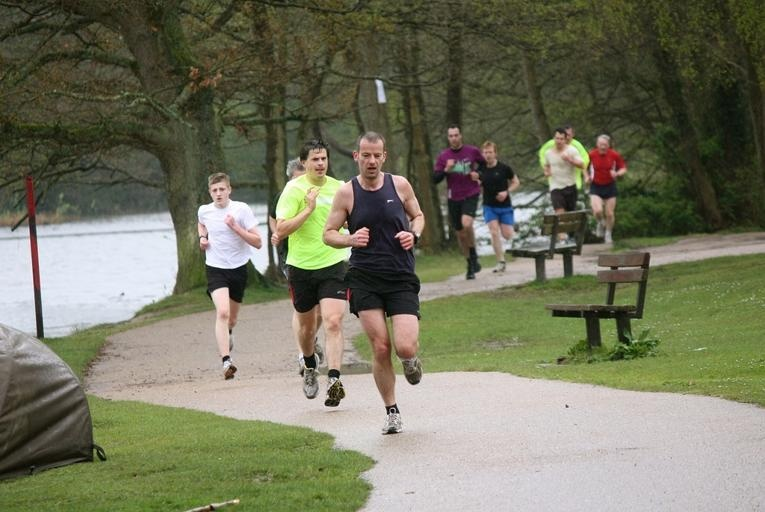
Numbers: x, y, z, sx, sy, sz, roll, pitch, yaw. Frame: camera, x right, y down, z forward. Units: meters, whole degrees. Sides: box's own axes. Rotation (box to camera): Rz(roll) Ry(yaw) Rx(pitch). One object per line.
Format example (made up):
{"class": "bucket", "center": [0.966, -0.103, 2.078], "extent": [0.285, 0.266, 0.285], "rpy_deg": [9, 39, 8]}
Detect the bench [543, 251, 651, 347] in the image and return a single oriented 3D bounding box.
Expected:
{"class": "bench", "center": [3.497, 0.739, 20.463], "extent": [1.661, 1.505, 1.612], "rpy_deg": [-1, 2, 7]}

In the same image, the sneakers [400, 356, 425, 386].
{"class": "sneakers", "center": [0.401, 1.634, 17.303], "extent": [0.190, 0.527, 0.228], "rpy_deg": [-9, 16, 12]}

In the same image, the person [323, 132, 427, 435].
{"class": "person", "center": [-0.019, 0.345, 17.253], "extent": [1.236, 4.046, 1.105], "rpy_deg": [-4, 10, 2]}

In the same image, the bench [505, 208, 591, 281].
{"class": "bench", "center": [3.407, -0.228, 25.722], "extent": [1.231, 1.424, 1.732], "rpy_deg": [7, 9, 41]}

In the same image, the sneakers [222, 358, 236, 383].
{"class": "sneakers", "center": [-2.420, 1.791, 19.681], "extent": [0.169, 0.424, 0.208], "rpy_deg": [-27, 60, -22]}

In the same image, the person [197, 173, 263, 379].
{"class": "person", "center": [-2.502, 0.324, 20.205], "extent": [1.065, 3.224, 1.019], "rpy_deg": [-12, 12, -35]}

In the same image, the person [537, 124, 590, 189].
{"class": "person", "center": [3.924, -1.678, 27.278], "extent": [1.133, 2.305, 0.690], "rpy_deg": [0, 33, 9]}

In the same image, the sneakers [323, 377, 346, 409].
{"class": "sneakers", "center": [-0.686, 1.948, 17.683], "extent": [0.205, 0.509, 0.249], "rpy_deg": [5, 45, -12]}

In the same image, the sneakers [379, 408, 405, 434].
{"class": "sneakers", "center": [0.103, 2.244, 17.173], "extent": [0.283, 0.338, 0.299], "rpy_deg": [-5, 10, 1]}
